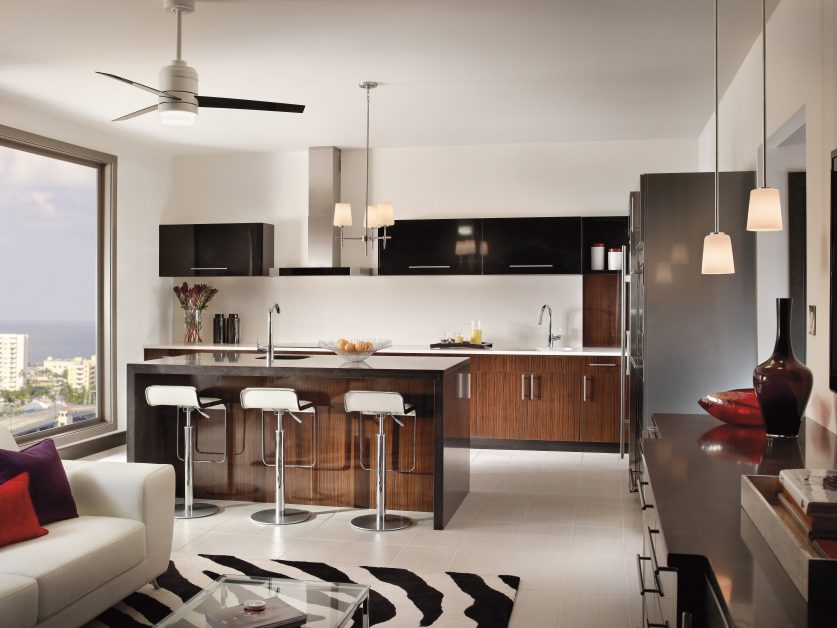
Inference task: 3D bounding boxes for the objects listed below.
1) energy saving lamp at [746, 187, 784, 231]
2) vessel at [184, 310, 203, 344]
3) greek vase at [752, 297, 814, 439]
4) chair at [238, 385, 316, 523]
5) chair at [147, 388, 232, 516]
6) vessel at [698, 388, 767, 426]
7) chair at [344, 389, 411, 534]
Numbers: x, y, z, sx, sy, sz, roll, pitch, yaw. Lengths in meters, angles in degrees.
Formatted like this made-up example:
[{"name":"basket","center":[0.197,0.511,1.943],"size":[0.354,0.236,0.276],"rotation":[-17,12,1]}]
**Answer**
[{"name":"energy saving lamp","center":[1.555,-0.477,3.208],"size":[0.133,0.186,0.142],"rotation":[2,5,9]},{"name":"vessel","center":[-2.529,0.129,7.965],"size":[0.171,0.366,0.210],"rotation":[-1,5,-20]},{"name":"greek vase","center":[1.633,0.239,3.226],"size":[0.245,0.599,0.250],"rotation":[-3,5,-33]},{"name":"chair","center":[-1.007,0.971,5.088],"size":[0.491,0.984,0.633],"rotation":[0,5,-11]},{"name":"chair","center":[-1.667,0.971,5.154],"size":[0.585,0.961,0.611],"rotation":[0,0,0]},{"name":"vessel","center":[1.532,0.451,3.448],"size":[0.208,0.079,0.176],"rotation":[5,2,44]},{"name":"chair","center":[-0.265,0.976,4.966],"size":[0.471,0.980,0.554],"rotation":[1,5,0]}]
